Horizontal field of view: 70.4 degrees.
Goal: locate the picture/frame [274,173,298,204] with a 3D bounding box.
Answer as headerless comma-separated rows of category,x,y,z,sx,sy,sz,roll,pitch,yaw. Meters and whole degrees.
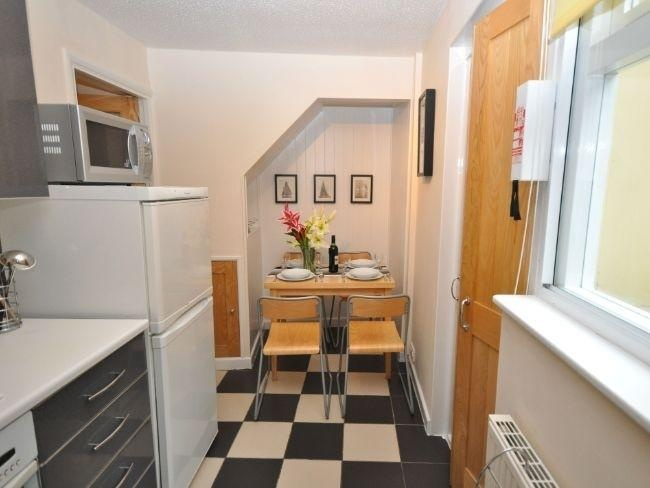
picture/frame,-0.372,-0.548,4.358,0.281,0.364,0.023,-1,10,-6

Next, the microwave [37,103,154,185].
microwave,-1.163,-0.484,2.383,0.259,0.356,0.571,0,5,15

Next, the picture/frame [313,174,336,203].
picture/frame,-0.005,-0.549,4.372,0.231,0.309,0.022,0,9,-4

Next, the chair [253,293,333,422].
chair,-0.220,0.717,3.319,0.629,0.913,0.653,-5,19,-15

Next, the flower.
flower,-0.135,-0.049,3.894,0.472,0.683,0.581,1,0,0

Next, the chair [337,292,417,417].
chair,0.344,0.695,3.310,0.504,0.906,0.575,-1,19,-4

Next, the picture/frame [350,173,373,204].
picture/frame,0.343,-0.546,4.360,0.244,0.322,0.026,0,9,-4
